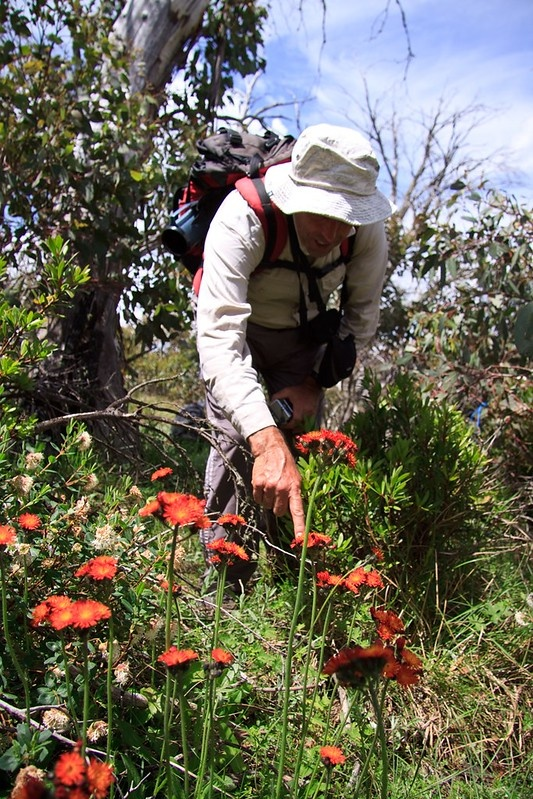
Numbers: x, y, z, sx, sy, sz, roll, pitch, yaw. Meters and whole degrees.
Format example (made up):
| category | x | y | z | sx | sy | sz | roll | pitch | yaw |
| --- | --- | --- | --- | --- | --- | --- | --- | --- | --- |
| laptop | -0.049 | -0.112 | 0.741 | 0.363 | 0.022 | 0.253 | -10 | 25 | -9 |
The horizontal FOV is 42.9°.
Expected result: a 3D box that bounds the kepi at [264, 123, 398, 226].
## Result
| category | x | y | z | sx | sy | sz | roll | pitch | yaw |
| --- | --- | --- | --- | --- | --- | --- | --- | --- | --- |
| kepi | 0.208 | -0.791 | 2.399 | 0.467 | 0.351 | 0.377 | -2 | 15 | 10 |
